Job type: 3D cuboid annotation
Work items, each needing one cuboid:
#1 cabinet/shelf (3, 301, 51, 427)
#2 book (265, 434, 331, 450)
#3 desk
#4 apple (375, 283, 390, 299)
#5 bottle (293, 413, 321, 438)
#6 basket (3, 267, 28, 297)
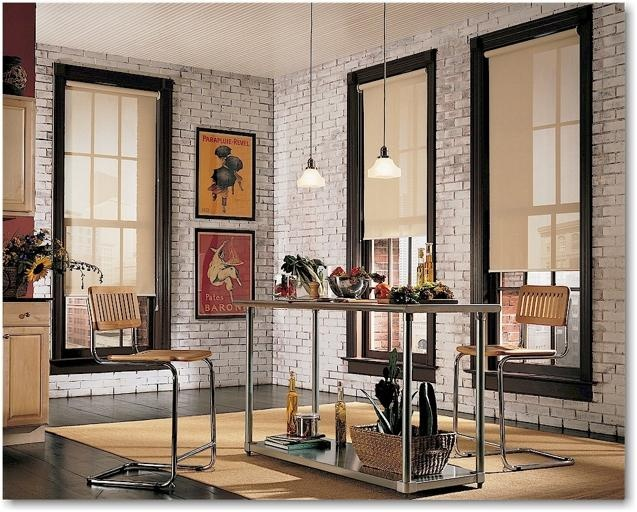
[{"bbox_3d":[-2.099,0.782,4.628,0.326,0.926,0.156,0,0,-33],"label":"cabinet/shelf"},{"bbox_3d":[-0.169,1.232,4.289,0.193,0.041,0.170,4,-5,-33],"label":"book"},{"bbox_3d":[0.206,0.793,4.228,0.778,1.049,1.808,13,-14,-35],"label":"desk"},{"bbox_3d":[0.372,0.206,3.813,0.070,0.085,0.040,0,-10,30],"label":"apple"},{"bbox_3d":[-0.083,1.155,4.383,0.173,0.133,0.170,0,2,0],"label":"bottle"},{"bbox_3d":[-2.197,0.190,4.679,0.182,0.229,0.141,0,0,-39],"label":"basket"}]
